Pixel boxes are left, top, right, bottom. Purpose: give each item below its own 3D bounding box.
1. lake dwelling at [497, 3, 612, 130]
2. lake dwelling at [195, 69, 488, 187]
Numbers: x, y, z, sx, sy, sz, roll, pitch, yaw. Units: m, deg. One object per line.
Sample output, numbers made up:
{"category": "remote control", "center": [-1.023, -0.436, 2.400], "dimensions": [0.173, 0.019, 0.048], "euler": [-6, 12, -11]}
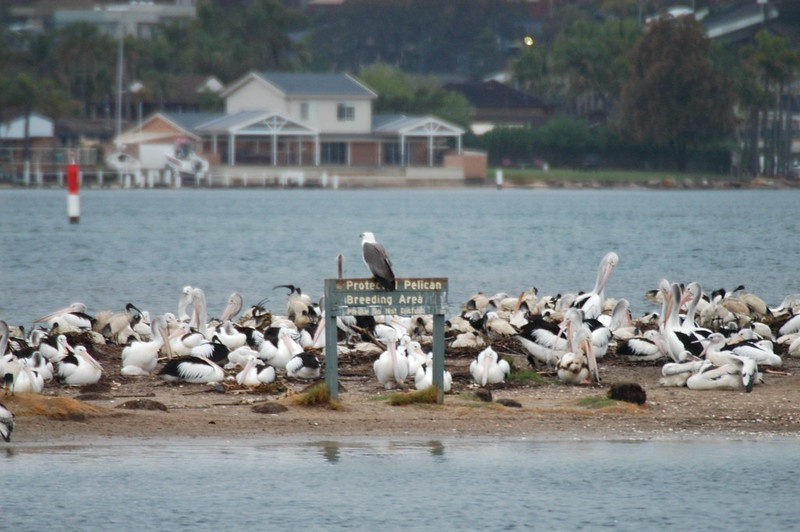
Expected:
{"category": "lake dwelling", "center": [14.365, -16.649, 149.425], "dimensions": [8.613, 9.021, 20.546], "euler": [1, 0, 6]}
{"category": "lake dwelling", "center": [-4.414, -11.235, 145.592], "dimensions": [23.898, 8.209, 16.613], "euler": [1, 0, -6]}
